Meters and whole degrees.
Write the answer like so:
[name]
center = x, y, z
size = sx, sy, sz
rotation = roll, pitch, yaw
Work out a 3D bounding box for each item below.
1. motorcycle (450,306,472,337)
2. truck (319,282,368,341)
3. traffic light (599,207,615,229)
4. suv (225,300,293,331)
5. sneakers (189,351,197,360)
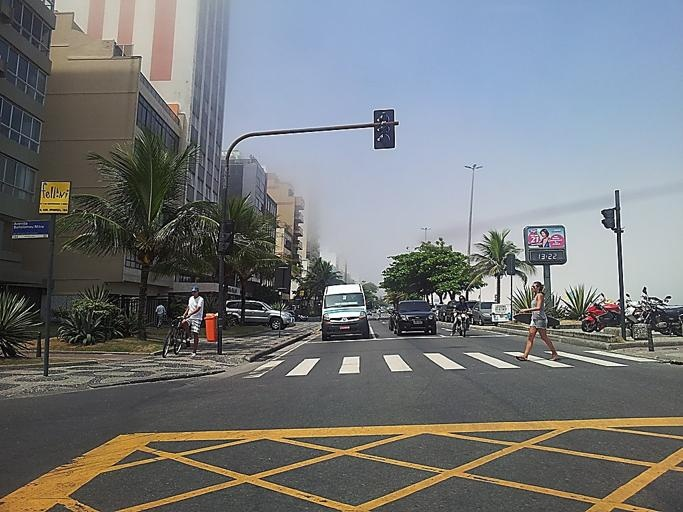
[motorcycle]
center = 5.739, 3.023, 22.734
size = 0.735, 1.006, 1.786
rotation = 0, -7, -1
[truck]
center = 0.149, 2.600, 23.290
size = 2.060, 2.711, 2.371
rotation = 0, -7, 0
[traffic light]
center = 9.344, -1.361, 17.085
size = 0.389, 0.729, 0.974
rotation = -3, -8, 28
[suv]
center = -5.985, 4.263, 34.277
size = 4.465, 1.992, 2.115
rotation = -2, -4, 9
[sneakers]
center = -4.581, 3.058, 15.123
size = 0.163, 0.246, 0.070
rotation = 0, 2, 4
